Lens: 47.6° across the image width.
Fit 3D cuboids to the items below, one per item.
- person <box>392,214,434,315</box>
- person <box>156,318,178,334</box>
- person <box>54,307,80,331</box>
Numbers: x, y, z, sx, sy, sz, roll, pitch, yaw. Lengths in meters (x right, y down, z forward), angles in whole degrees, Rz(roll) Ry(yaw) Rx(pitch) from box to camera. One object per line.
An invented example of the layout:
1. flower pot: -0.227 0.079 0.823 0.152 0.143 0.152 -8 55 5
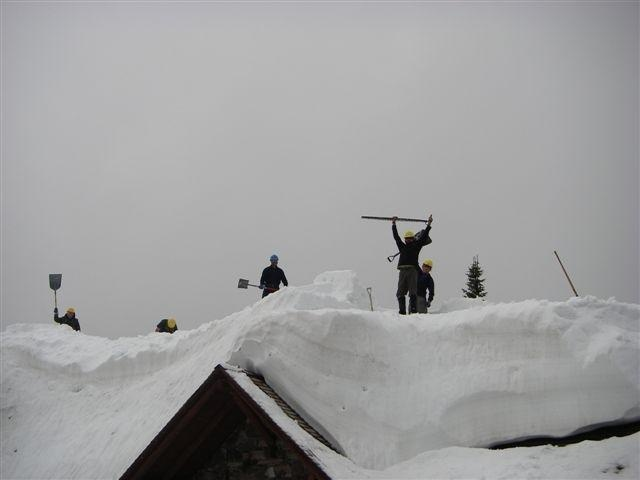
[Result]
1. person: 2.599 0.761 20.661 1.021 2.797 1.056 -1 3 5
2. person: -5.109 2.851 24.076 0.685 0.394 0.447 -3 3 -34
3. person: -8.739 2.741 25.042 0.790 0.977 2.149 -2 3 -21
